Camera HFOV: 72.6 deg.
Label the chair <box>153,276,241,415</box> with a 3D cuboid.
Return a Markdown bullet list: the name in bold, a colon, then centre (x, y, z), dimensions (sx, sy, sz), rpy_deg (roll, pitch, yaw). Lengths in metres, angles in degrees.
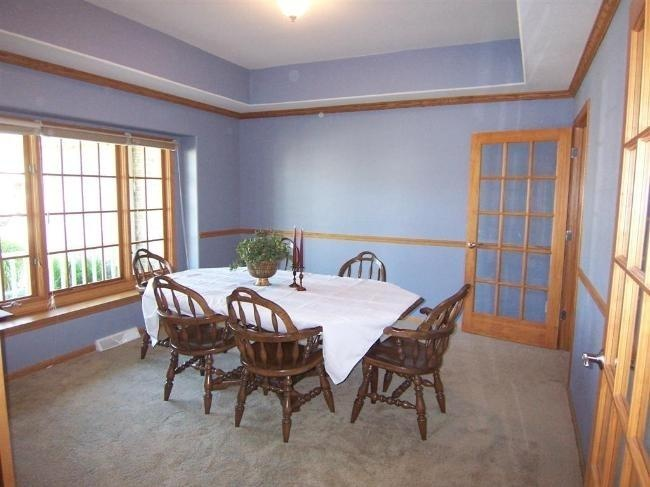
- **chair**: centre (-1.037, 0.806, 3.700), dimensions (0.668, 0.998, 0.721), rpy_deg (1, 4, 27)

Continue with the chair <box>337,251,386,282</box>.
- **chair**: centre (0.409, 0.251, 4.778), dimensions (0.430, 0.563, 0.394), rpy_deg (1, 0, 27)

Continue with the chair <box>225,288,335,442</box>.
- **chair**: centre (-0.383, 0.858, 3.376), dimensions (0.691, 1.048, 0.739), rpy_deg (4, 6, 32)

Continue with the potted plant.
- **potted plant**: centre (-0.530, 0.175, 3.857), dimensions (0.430, 0.417, 0.448), rpy_deg (-4, -6, 16)

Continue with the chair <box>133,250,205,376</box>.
- **chair**: centre (-1.575, 0.648, 4.802), dimensions (0.819, 1.085, 0.833), rpy_deg (-6, -6, 14)
